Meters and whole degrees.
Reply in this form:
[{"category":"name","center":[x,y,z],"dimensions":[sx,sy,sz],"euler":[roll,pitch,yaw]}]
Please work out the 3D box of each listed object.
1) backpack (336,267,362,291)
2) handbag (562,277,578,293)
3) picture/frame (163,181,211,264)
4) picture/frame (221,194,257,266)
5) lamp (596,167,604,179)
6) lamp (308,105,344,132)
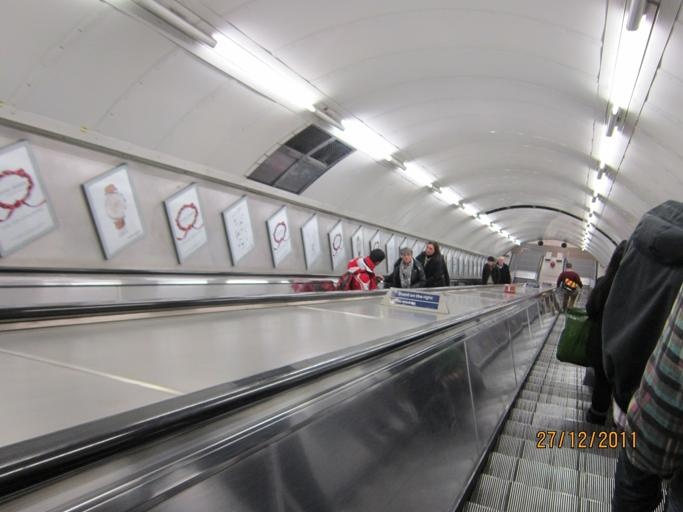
[{"category":"backpack","center":[0.108,0.409,5.286],"dimensions":[0.334,0.312,0.266],"euler":[6,-6,-27]},{"category":"handbag","center":[7.966,1.034,11.714],"dimensions":[0.370,0.530,0.365],"euler":[-10,-4,22]},{"category":"picture/frame","center":[-3.253,-0.678,7.168],"dimensions":[0.331,1.643,0.984],"euler":[-10,-4,33]},{"category":"picture/frame","center":[-2.561,-0.656,8.357],"dimensions":[0.223,1.612,1.393],"euler":[0,23,23]},{"category":"lamp","center":[8.904,-2.831,11.578],"dimensions":[0.087,0.355,0.274],"euler":[15,-5,6]},{"category":"lamp","center":[-0.278,-3.330,8.077],"dimensions":[0.262,0.205,1.217],"euler":[36,18,31]}]
